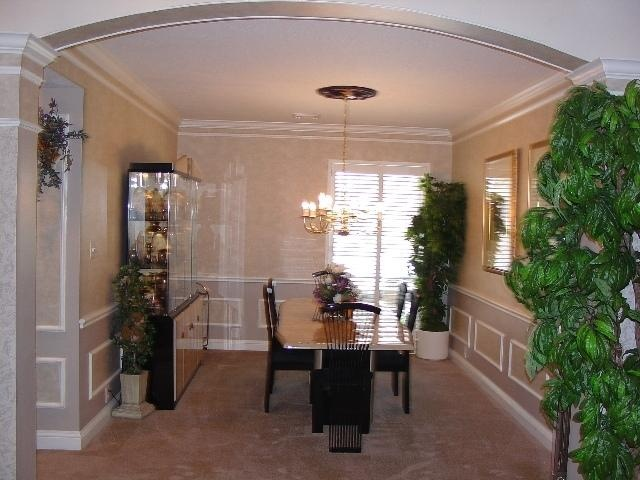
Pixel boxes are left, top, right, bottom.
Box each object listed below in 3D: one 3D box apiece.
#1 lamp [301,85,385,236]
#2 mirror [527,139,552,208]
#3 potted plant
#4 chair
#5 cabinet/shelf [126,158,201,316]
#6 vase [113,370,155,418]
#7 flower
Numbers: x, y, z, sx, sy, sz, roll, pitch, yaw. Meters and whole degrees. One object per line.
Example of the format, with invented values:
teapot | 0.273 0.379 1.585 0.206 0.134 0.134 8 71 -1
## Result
lamp | 0.234 -1.013 6.269 0.936 2.082 0.924 -10 18 -42
mirror | 1.980 -0.594 4.592 0.152 0.604 0.434 3 6 20
potted plant | 1.485 0.371 6.481 0.727 2.372 0.418 2 6 10
chair | 0.069 0.688 5.135 1.077 1.293 1.955 -1 7 -4
cabinet/shelf | -1.552 -0.048 5.146 0.464 1.450 0.953 4 6 22
vase | -1.700 1.434 4.769 0.368 0.449 0.348 2 0 -3
flower | -1.733 0.732 4.635 0.346 0.996 0.247 -1 6 -22
